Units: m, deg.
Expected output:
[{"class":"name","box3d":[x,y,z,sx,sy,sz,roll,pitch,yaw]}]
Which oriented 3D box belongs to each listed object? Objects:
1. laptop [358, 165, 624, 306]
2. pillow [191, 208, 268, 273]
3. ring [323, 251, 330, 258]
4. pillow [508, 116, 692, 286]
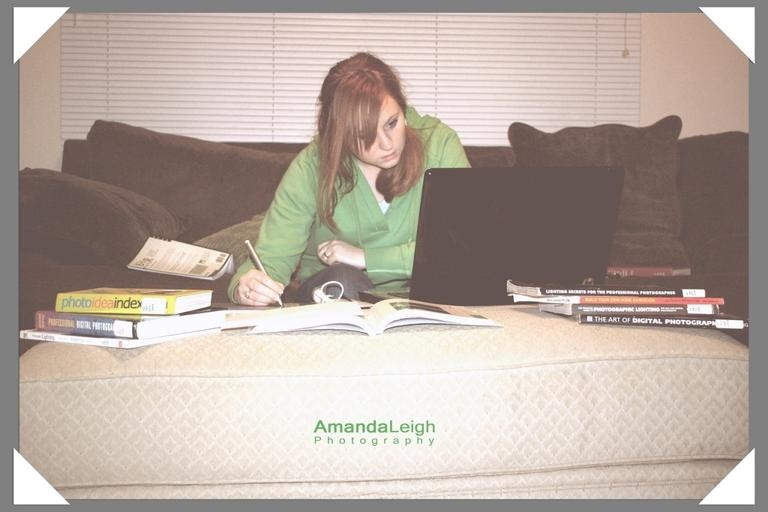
[{"class":"laptop","box3d":[0.397,-0.082,1.965,0.569,0.365,0.386,0,10,-7]},{"class":"pillow","box3d":[-0.584,-0.092,2.609,0.244,0.074,0.251,-3,22,19]},{"class":"ring","box3d":[-0.224,-0.005,2.502,0.010,0.024,0.027,19,-7,-42]},{"class":"pillow","box3d":[0.891,-0.197,2.465,0.788,0.648,0.615,-3,5,4]}]
